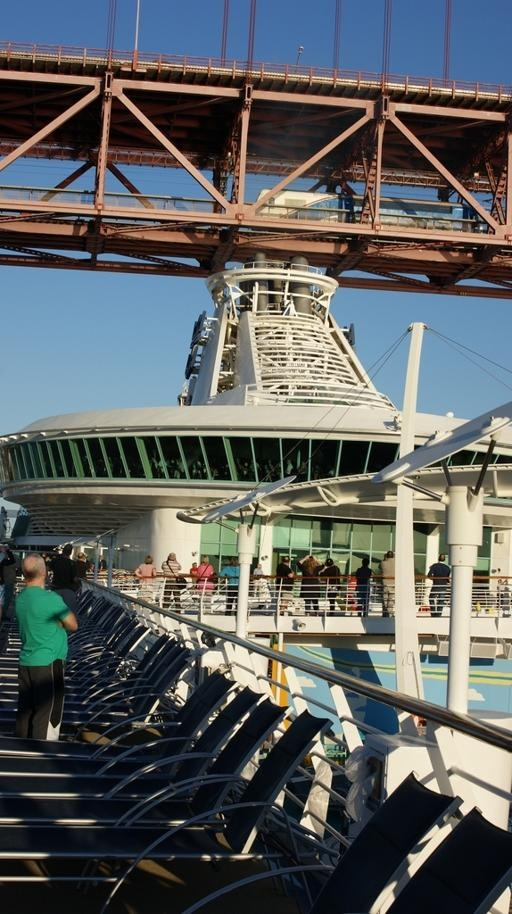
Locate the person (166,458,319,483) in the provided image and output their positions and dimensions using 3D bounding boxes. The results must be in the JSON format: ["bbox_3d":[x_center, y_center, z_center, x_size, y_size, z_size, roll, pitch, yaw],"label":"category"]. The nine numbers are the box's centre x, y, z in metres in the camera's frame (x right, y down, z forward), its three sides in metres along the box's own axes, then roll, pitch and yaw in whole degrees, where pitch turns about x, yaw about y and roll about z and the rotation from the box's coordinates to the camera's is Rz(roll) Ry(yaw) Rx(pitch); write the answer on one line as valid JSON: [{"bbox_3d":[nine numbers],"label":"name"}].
[{"bbox_3d":[-0.148,0.427,26.262,3.314,0.612,0.366,2,-8,13],"label":"person"}]
